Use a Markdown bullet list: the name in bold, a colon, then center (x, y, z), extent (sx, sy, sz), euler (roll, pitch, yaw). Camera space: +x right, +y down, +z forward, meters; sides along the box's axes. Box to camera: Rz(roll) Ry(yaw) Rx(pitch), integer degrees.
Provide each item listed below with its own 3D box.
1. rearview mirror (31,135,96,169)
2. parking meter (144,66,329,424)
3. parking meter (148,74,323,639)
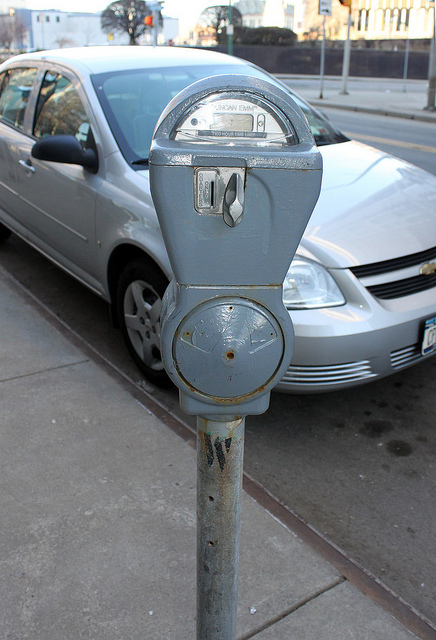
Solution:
- **rearview mirror**: center (-0.742, -0.810, 2.803), extent (0.324, 0.163, 0.109), euler (-18, 28, -41)
- **parking meter**: center (0.030, -0.094, 0.923), extent (0.268, 0.554, 0.171), euler (0, 21, -3)
- **parking meter**: center (0.018, 0.155, 0.999), extent (0.249, 1.072, 0.185), euler (-1, 21, -5)
